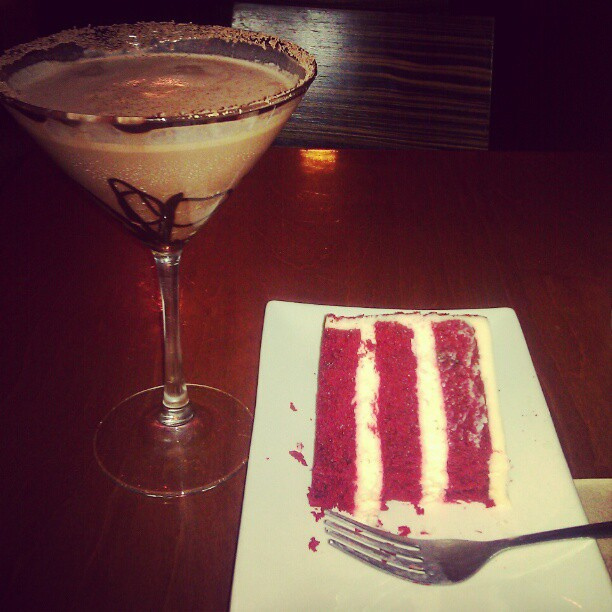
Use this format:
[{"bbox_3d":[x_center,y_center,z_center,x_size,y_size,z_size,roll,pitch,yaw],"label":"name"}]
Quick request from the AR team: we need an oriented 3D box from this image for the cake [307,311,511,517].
[{"bbox_3d":[0.104,0.089,0.640,0.187,0.108,0.271,5,19,2],"label":"cake"}]
